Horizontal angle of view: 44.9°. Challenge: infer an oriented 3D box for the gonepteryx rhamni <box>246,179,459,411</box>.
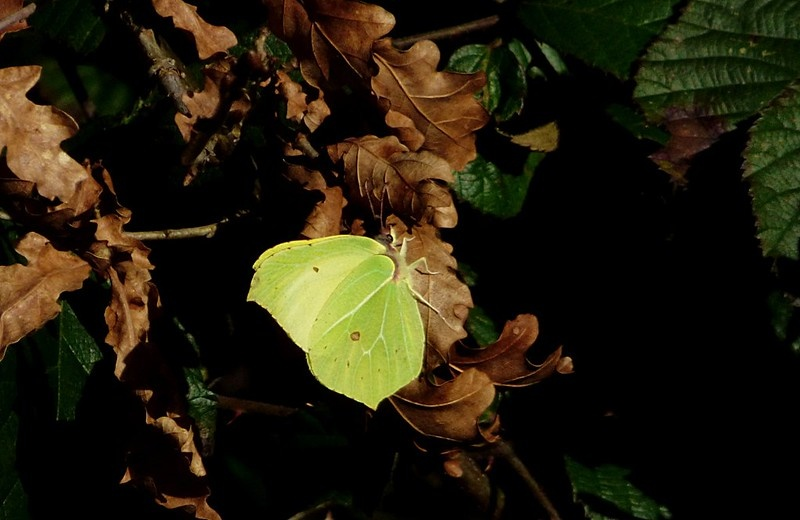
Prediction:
[{"bbox_3d":[-0.135,0.138,2.533,0.523,0.452,0.276,0,5,-10],"label":"gonepteryx rhamni"}]
